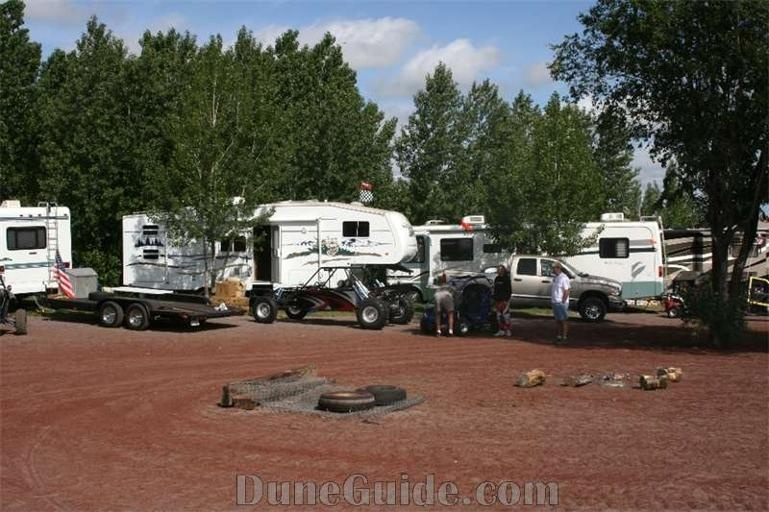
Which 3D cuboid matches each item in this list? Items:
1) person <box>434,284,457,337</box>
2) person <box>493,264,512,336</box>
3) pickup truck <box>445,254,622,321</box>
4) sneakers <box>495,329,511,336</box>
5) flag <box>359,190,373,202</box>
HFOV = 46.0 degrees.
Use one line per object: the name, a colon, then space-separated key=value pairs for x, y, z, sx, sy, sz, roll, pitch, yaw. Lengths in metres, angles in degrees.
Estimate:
person: x=1.805 y=1.591 z=27.525 sx=0.664 sy=1.608 sz=0.880 roll=0 pitch=13 yaw=4
person: x=3.589 y=1.356 z=27.840 sx=0.549 sy=2.031 sz=1.026 roll=1 pitch=13 yaw=6
pickup truck: x=5.594 y=0.940 z=32.329 sx=5.239 sy=1.838 sz=2.426 roll=1 pitch=1 yaw=17
sneakers: x=3.607 y=2.340 z=27.748 sx=0.564 sy=0.231 sz=0.193 roll=3 pitch=-4 yaw=9
flag: x=-0.744 y=-2.496 z=37.876 sx=0.666 sy=0.678 sz=0.665 roll=0 pitch=0 yaw=-18
